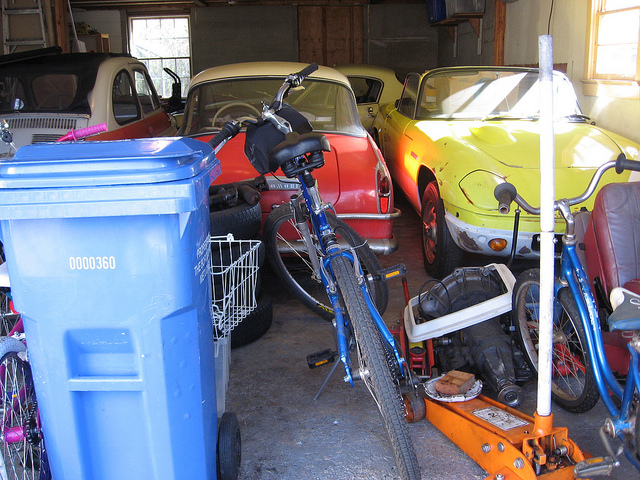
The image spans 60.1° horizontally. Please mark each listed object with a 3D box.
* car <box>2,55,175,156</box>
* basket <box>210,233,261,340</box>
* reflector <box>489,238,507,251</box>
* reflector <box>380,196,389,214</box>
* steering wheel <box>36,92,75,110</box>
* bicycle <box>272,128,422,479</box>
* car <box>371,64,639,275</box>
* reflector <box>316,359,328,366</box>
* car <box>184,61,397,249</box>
[{"bbox_3d":[-2.713,-1.640,6.429,1.738,1.105,1.497,-13,18,-25],"label":"car"},{"bbox_3d":[-0.518,0.251,3.360,0.289,0.567,0.532,-1,26,-1],"label":"basket"},{"bbox_3d":[1.338,0.032,4.154,0.084,0.061,0.092,-2,2,-4],"label":"reflector"},{"bbox_3d":[0.523,-0.288,4.442,0.064,0.133,0.030,2,-1,-8],"label":"reflector"},{"bbox_3d":[-2.932,-1.545,6.141,0.441,0.167,0.165,0,16,17],"label":"steering wheel"},{"bbox_3d":[0.020,0.145,3.364,0.520,1.709,2.200,-6,16,-7],"label":"bicycle"},{"bbox_3d":[1.515,-0.800,5.455,1.389,1.374,3.080,-2,22,-4],"label":"car"},{"bbox_3d":[0.011,0.722,3.284,0.064,0.020,0.065,-7,7,-8],"label":"reflector"},{"bbox_3d":[-0.082,-0.635,4.625,1.193,1.089,2.266,-1,29,-9],"label":"car"}]
